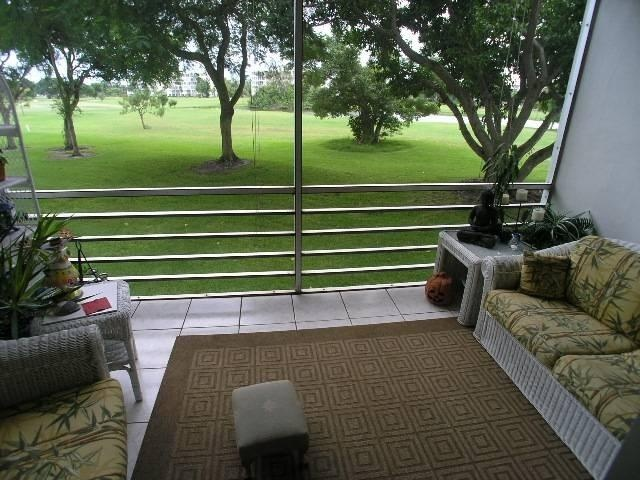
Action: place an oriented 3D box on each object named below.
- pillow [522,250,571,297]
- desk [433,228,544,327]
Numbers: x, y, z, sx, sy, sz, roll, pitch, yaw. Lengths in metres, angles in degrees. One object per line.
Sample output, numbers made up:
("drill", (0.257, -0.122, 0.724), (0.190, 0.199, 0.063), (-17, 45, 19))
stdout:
("pillow", (1.821, 0.291, 3.563), (0.330, 0.321, 0.117), (6, -8, 7))
("desk", (1.595, 0.297, 4.274), (0.782, 0.686, 0.764), (-7, 27, -7))
